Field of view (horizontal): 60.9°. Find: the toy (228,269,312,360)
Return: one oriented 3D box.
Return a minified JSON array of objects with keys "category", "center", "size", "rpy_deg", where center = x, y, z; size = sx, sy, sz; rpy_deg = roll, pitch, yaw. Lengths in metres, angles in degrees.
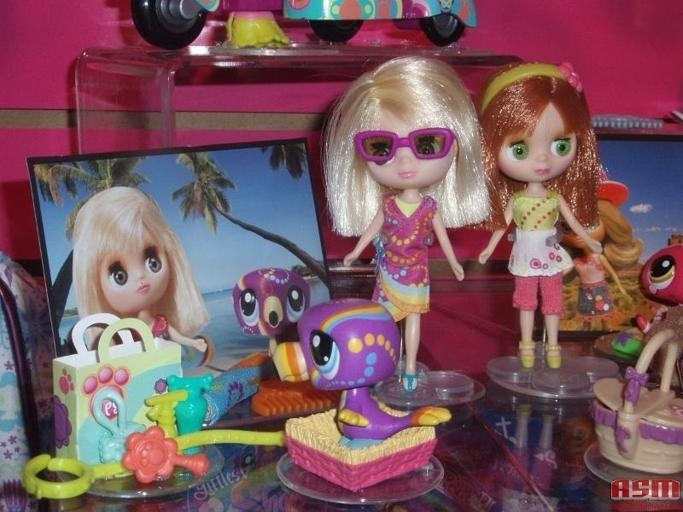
[{"category":"toy","center":[-0.174,0.123,1.382],"size":[0.223,0.270,0.160],"rpy_deg":[0,-9,-20]}]

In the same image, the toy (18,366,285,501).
[{"category":"toy","center":[-0.341,0.311,1.063],"size":[0.434,0.157,0.198],"rpy_deg":[-5,3,-30]}]

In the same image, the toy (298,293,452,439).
[{"category":"toy","center":[0.056,0.208,1.030],"size":[0.251,0.259,0.182],"rpy_deg":[1,0,-1]}]
